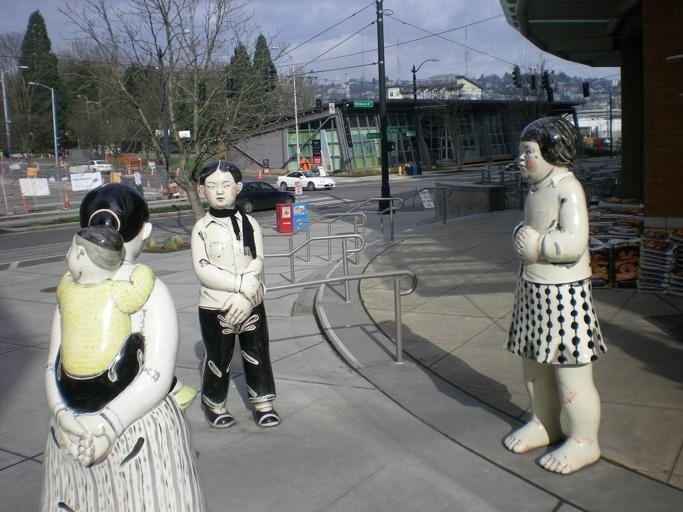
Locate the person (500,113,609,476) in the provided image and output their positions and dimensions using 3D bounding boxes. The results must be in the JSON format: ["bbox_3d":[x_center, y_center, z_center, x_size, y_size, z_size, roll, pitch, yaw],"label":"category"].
[{"bbox_3d":[1.629,0.306,3.943,0.495,2.685,0.687,-14,15,-42],"label":"person"}]

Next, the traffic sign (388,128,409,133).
[{"bbox_3d":[6.215,-13.860,56.592,2.927,0.637,0.221,-14,15,-39],"label":"traffic sign"}]

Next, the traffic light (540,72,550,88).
[{"bbox_3d":[15.241,-13.274,38.536,0.311,1.235,1.421,-1,12,13],"label":"traffic light"}]

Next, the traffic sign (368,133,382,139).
[{"bbox_3d":[3.282,-12.793,54.641,1.363,0.786,1.276,-6,12,-12],"label":"traffic sign"}]

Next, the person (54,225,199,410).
[{"bbox_3d":[-1.254,0.377,2.783,0.634,0.928,0.677,1,5,22],"label":"person"}]
